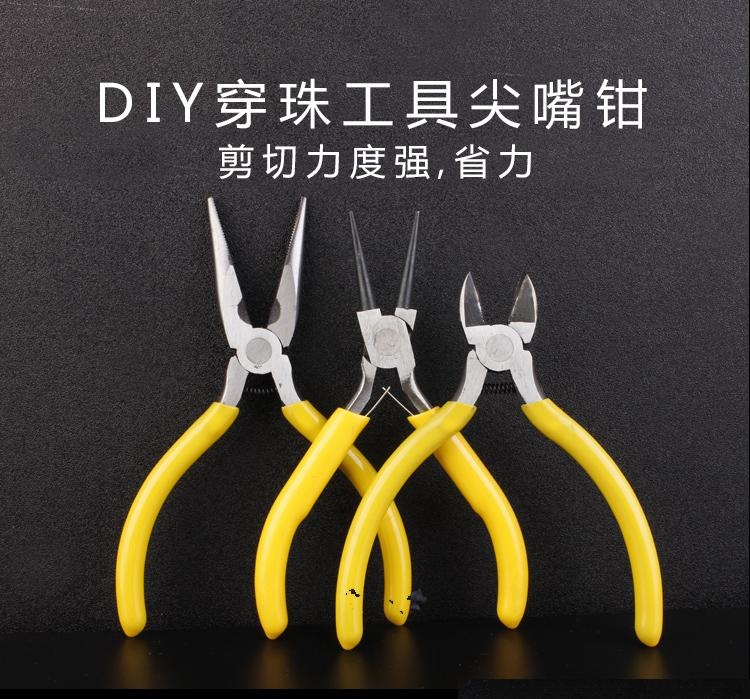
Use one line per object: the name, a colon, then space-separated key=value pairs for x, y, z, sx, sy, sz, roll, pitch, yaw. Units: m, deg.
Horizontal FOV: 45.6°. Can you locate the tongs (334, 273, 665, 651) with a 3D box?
tongs: x=0.116 y=0.127 z=0.954 sx=0.344 sy=0.447 sz=0.038 roll=0 pitch=-2 yaw=-2
